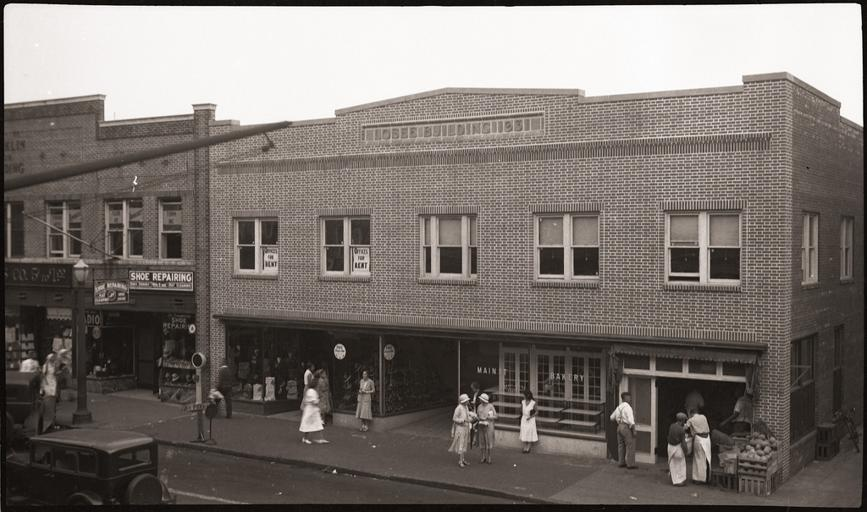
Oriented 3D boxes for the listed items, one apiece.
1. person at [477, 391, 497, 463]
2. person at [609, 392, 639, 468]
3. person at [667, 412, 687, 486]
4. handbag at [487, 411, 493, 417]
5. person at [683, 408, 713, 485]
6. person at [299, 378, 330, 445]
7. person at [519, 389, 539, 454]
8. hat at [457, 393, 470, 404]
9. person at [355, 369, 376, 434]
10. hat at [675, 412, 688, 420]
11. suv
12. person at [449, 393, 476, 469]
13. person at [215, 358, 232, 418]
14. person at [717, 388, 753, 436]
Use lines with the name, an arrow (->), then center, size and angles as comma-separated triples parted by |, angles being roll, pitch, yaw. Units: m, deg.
person -> 1.905, 6.193, 35.399 | 0.671, 2.479, 1.021 | 1, -6, 10
person -> 6.757, 6.168, 34.797 | 0.934, 2.674, 0.627 | 2, -6, 8
person -> 8.502, 6.689, 34.024 | 0.617, 2.459, 0.857 | 1, -6, 15
handbag -> 2.012, 5.654, 35.016 | 0.144, 0.191, 0.192 | -2, -18, 7
person -> 9.210, 6.669, 34.002 | 0.873, 2.351, 0.315 | 1, -6, 15
person -> -4.515, 5.826, 36.989 | 0.975, 2.459, 1.446 | 3, -6, -6
person -> 3.499, 6.042, 35.816 | 0.659, 2.249, 0.424 | 2, -6, 5
hat -> 1.124, 5.098, 35.062 | 0.362, 0.190, 0.338 | -9, 6, -33
person -> -2.632, 5.568, 37.582 | 0.651, 2.267, 0.651 | 3, -6, -4
hat -> 8.612, 5.600, 34.087 | 0.355, 0.304, 0.265 | -10, 16, -40
suv -> -11.420, 6.738, 31.739 | 4.484, 2.081, 2.750 | 2, -3, 26
person -> 1.017, 6.248, 35.210 | 0.784, 2.584, 0.910 | 2, -6, 1
person -> -8.392, 5.392, 39.404 | 0.678, 2.175, 0.976 | 4, -6, -12
person -> 10.635, 5.483, 34.401 | 0.687, 1.510, 1.135 | 6, -7, -27
